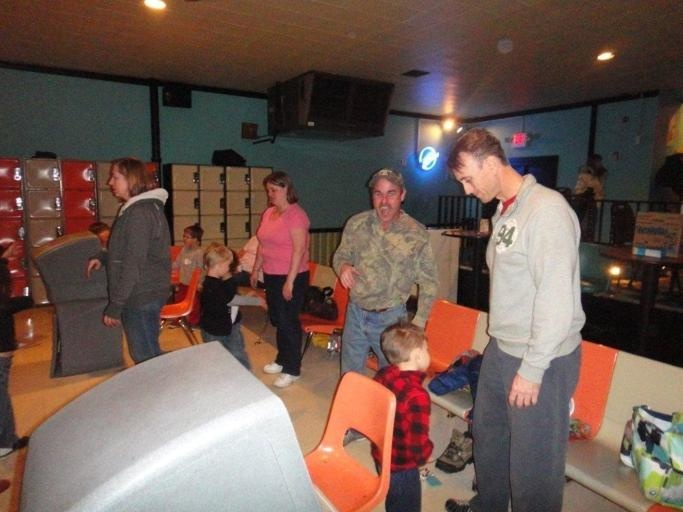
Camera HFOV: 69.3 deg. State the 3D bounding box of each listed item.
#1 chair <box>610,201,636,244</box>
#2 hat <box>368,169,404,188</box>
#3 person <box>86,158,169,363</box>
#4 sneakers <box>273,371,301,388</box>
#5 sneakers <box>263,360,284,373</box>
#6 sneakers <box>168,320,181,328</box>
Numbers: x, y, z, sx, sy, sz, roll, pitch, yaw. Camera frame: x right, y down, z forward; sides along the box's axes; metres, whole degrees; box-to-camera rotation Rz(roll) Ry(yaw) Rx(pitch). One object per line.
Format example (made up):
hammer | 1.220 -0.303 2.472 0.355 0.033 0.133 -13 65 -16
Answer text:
chair | 3.888 -0.446 6.830 0.284 0.569 0.377 8 15 28
hat | 0.314 -0.549 3.522 0.253 0.144 0.207 3 13 11
person | -1.576 0.050 3.829 0.493 1.577 0.559 -4 14 -19
sneakers | -0.515 1.158 4.644 0.280 0.106 0.103 3 -2 -43
sneakers | -0.637 1.093 4.922 0.250 0.096 0.111 9 -2 -44
sneakers | -2.094 0.854 6.223 0.139 0.099 0.191 10 -12 -11
